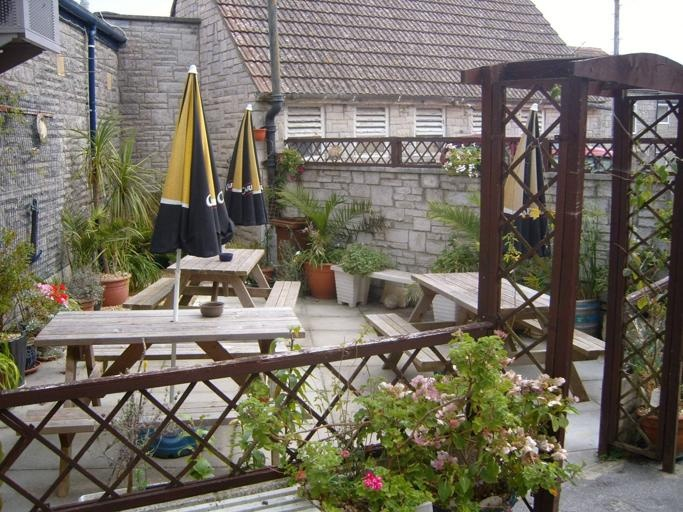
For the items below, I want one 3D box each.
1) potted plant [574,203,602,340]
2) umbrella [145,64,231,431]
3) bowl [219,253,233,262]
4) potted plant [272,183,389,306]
[{"bbox_3d":[3.398,0.254,7.221,0.404,1.701,0.364,3,7,9],"label":"potted plant"},{"bbox_3d":[-1.240,-0.190,4.421,0.613,2.742,0.667,1,7,-12],"label":"umbrella"},{"bbox_3d":[-1.468,0.005,6.768,0.117,0.061,0.113,-1,11,0],"label":"bowl"},{"bbox_3d":[-0.204,-0.256,9.866,2.330,2.039,1.818,3,-4,-8],"label":"potted plant"}]
